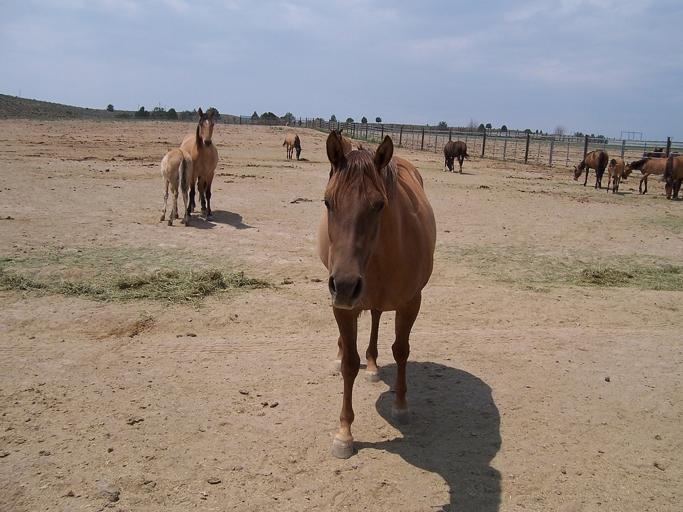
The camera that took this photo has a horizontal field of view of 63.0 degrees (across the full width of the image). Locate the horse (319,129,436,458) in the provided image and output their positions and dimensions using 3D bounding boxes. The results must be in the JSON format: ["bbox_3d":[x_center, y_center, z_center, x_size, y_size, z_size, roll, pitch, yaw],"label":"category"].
[{"bbox_3d":[0.326,0.350,5.521,1.061,3.047,2.073,5,12,11],"label":"horse"}]

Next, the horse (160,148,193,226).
[{"bbox_3d":[-4.271,-1.867,14.314,0.780,1.787,2.833,-1,12,-16],"label":"horse"}]
